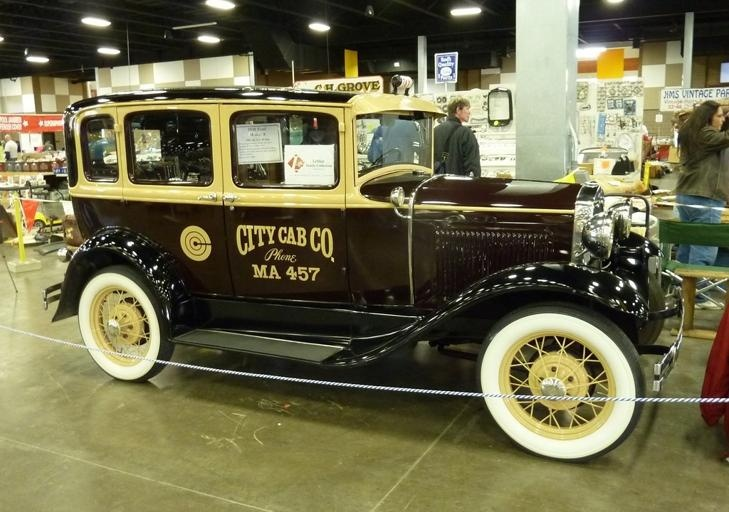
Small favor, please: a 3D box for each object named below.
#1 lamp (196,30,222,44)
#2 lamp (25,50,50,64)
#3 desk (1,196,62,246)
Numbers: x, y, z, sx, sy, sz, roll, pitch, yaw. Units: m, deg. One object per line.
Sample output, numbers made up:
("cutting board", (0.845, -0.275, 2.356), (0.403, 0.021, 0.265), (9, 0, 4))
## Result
("lamp", (-4.524, -6.255, 15.475), (0.619, 0.145, 2.316), (-4, 14, -15))
("lamp", (-11.018, -6.675, 17.852), (0.870, 0.191, 0.816), (-3, 2, 11))
("desk", (-5.389, -0.528, 8.579), (0.645, 0.533, 1.015), (2, 17, 4))
